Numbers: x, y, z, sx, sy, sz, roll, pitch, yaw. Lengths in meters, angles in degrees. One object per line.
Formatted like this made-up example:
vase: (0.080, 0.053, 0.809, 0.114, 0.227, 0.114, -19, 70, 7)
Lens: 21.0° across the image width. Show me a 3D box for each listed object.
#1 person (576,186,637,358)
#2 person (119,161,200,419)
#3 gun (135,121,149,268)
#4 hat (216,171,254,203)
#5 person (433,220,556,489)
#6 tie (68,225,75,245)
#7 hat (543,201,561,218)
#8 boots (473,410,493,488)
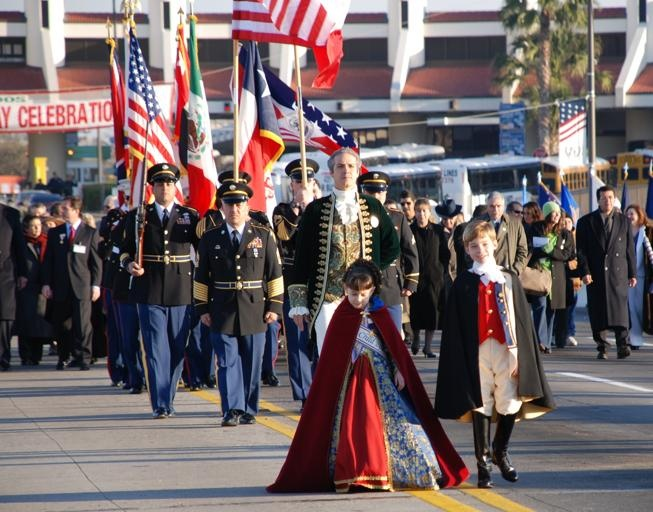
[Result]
person: (4.703, 0.231, 29.768, 0.876, 2.949, 0.817, 7, 10, 19)
person: (-2.370, 0.499, 25.712, 1.071, 3.708, 0.600, -1, -1, -6)
gun: (-2.697, -0.797, 25.763, 0.172, 1.938, 0.222, -10, 10, -27)
hat: (-1.288, -0.948, 25.431, 0.473, 0.410, 0.546, 0, -31, 2)
person: (2.130, 1.232, 23.077, 1.538, 3.246, 0.794, -2, -1, -15)
tie: (-4.156, -0.359, 29.185, 0.095, 0.290, 0.084, -1, -1, -9)
hat: (3.843, -0.795, 30.211, 0.250, 0.238, 0.257, 1, 5, 19)
boots: (2.017, 2.534, 22.918, 0.234, 0.989, 0.264, -1, -1, 4)
